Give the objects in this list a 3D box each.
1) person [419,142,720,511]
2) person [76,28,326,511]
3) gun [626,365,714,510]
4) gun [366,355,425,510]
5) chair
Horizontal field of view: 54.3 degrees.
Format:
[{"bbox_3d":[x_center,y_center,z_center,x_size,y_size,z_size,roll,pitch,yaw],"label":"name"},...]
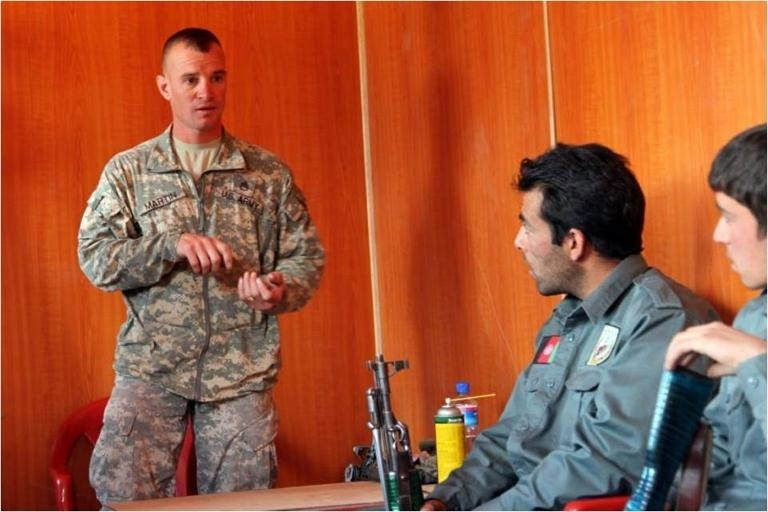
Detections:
[{"bbox_3d":[0.632,0.201,2.813,1.122,1.430,1.040,1,-1,2],"label":"person"},{"bbox_3d":[-0.727,0.005,2.948,0.984,1.853,0.426,-7,-6,-22],"label":"person"},{"bbox_3d":[0.712,0.454,1.875,0.267,0.286,0.065,-11,-6,14],"label":"gun"},{"bbox_3d":[0.036,0.548,2.297,0.150,0.494,0.201,-7,3,7],"label":"gun"},{"bbox_3d":[-1.241,0.909,3.819,0.640,0.804,0.642,7,-16,-35],"label":"chair"}]
